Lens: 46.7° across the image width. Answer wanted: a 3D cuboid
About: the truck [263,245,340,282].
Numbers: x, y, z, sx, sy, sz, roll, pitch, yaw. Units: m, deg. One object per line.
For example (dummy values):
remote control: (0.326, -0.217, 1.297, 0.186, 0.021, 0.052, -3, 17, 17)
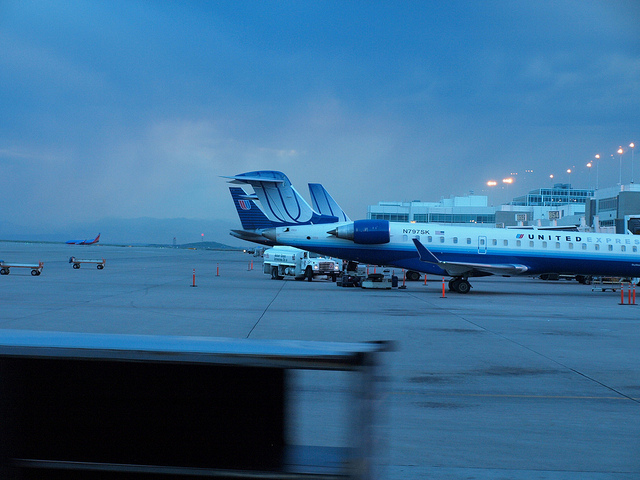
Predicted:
truck: (-1.313, 1.198, 37.660, 1.841, 1.085, 4.532, 0, -1, -41)
